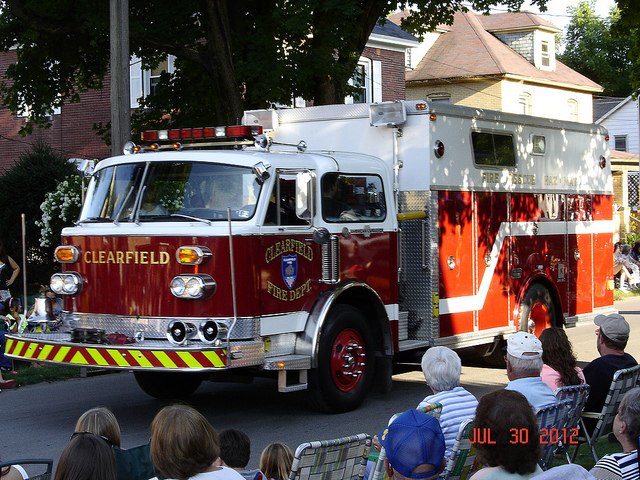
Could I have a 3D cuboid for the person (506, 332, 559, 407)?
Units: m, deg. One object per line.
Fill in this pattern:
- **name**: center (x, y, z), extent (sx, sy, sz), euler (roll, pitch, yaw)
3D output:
- **person**: center (1.800, 1.048, 6.560), extent (0.448, 0.439, 0.832), euler (6, 7, -3)
